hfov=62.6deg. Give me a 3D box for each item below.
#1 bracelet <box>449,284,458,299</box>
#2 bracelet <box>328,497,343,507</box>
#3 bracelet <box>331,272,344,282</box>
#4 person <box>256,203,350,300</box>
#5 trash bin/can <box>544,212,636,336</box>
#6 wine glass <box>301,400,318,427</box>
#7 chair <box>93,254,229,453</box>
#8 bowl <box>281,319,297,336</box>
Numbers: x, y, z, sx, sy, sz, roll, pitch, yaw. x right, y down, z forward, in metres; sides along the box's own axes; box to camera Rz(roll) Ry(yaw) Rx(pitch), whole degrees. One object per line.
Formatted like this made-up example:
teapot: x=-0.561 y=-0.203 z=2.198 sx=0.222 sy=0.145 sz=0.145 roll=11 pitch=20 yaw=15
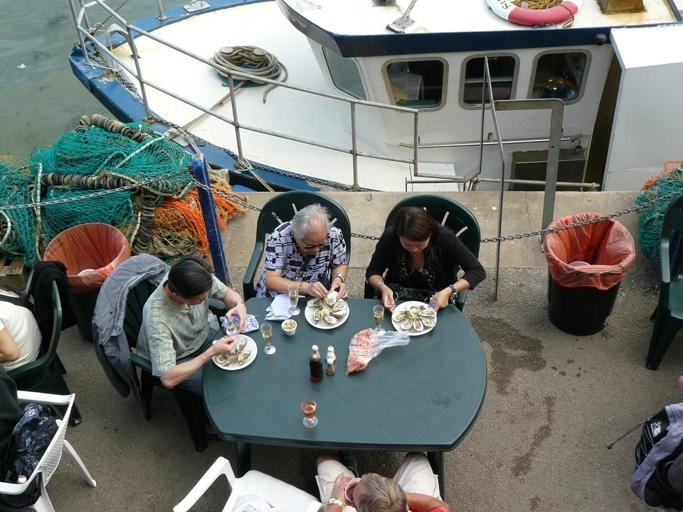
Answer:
bracelet: x=0.904 y=0.297 z=4.483 sx=0.076 sy=0.120 sz=0.106 roll=-6 pitch=47 yaw=5
bracelet: x=-0.036 y=1.551 z=3.557 sx=0.083 sy=0.032 sz=0.061 roll=3 pitch=31 yaw=8
bracelet: x=-0.031 y=0.177 z=4.701 sx=0.091 sy=0.100 sz=0.062 roll=-18 pitch=52 yaw=33
person: x=-0.319 y=0.020 z=4.677 sx=0.757 sy=1.245 sz=0.777 roll=1 pitch=68 yaw=-13
trash bin/can: x=2.240 y=0.218 z=5.157 sx=0.718 sy=0.926 sz=0.732 roll=21 pitch=54 yaw=33
wine glass: x=-0.204 y=1.021 z=3.625 sx=0.103 sy=0.120 sz=0.102 roll=6 pitch=44 yaw=15
chair: x=-1.498 y=0.886 z=4.513 sx=0.994 sy=1.279 sz=0.989 roll=23 pitch=6 yaw=-31
bowl: x=-0.388 y=0.530 z=4.197 sx=0.105 sy=0.069 sz=0.104 roll=-1 pitch=44 yaw=1
